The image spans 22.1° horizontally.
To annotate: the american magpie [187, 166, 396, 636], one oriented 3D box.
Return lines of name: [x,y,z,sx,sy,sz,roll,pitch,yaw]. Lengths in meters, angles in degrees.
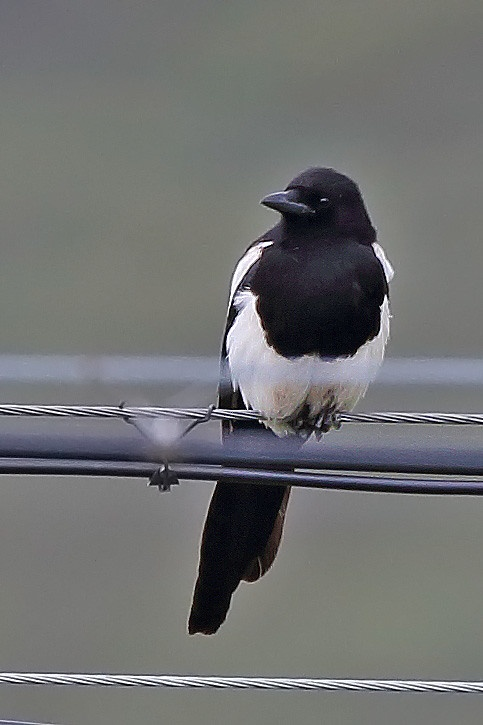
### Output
american magpie: [0.184,0.059,3.877,0.525,1.338,0.712,6,6,-1]
